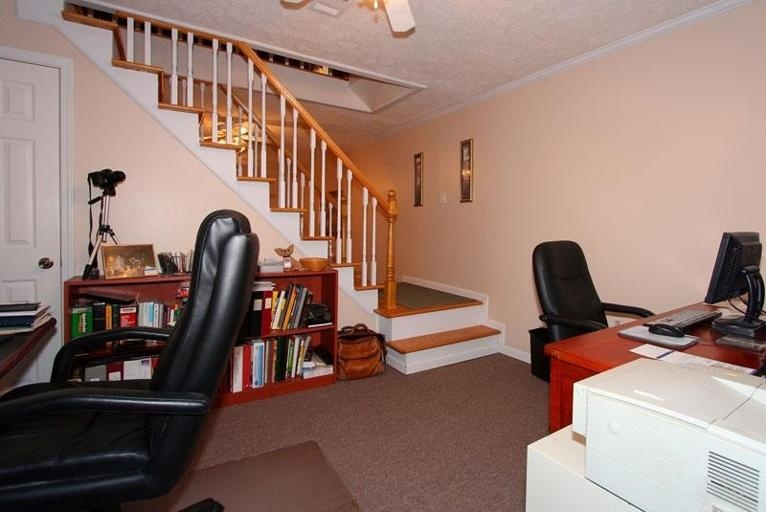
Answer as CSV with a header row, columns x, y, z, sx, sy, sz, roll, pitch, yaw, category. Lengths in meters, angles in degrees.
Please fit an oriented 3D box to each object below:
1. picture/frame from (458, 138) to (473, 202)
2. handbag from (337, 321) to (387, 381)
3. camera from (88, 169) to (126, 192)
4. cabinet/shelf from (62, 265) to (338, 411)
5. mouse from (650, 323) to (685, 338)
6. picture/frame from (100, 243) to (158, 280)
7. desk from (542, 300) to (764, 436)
x,y,z,sx,sy,sz,roll,pitch,yaw,category
0.904,-0.920,5.637,0.019,0.668,0.375,6,16,29,picture/frame
-0.237,0.863,4.710,0.521,0.446,0.316,-5,5,-20,handbag
-2.119,-0.566,3.970,0.272,0.194,0.250,-4,5,-28,camera
-1.305,0.649,4.113,1.934,1.078,0.548,-9,22,-44,cabinet/shelf
1.731,0.448,3.153,0.095,0.041,0.132,1,-2,-38,mouse
-1.961,0.050,3.959,0.302,0.227,0.031,1,-22,-36,picture/frame
1.477,0.331,2.952,1.534,0.700,0.573,-7,10,-37,desk
